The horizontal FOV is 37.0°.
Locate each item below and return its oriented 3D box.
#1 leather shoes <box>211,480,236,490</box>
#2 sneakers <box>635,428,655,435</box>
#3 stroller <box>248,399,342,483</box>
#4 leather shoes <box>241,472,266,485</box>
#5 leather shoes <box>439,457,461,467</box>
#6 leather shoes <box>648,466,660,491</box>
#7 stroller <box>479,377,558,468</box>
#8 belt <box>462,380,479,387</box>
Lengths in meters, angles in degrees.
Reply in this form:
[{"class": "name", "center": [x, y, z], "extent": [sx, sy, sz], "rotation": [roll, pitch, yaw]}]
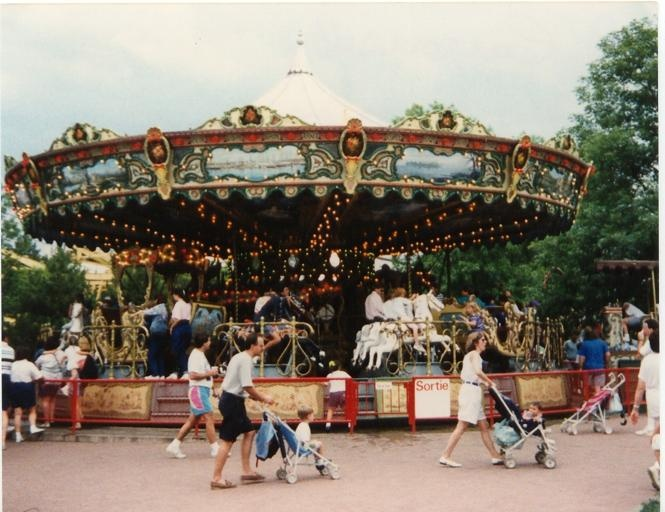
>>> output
[{"class": "leather shoes", "center": [-1.960, 4.031, 17.596], "extent": [0.291, 0.105, 0.168], "rotation": [-2, -5, -7]}, {"class": "sneakers", "center": [6.673, 3.760, 21.296], "extent": [0.358, 0.159, 0.138], "rotation": [2, -12, 1]}, {"class": "stroller", "center": [-0.665, 3.477, 18.302], "extent": [1.464, 1.329, 1.040], "rotation": [0, -2, -14]}, {"class": "leather shoes", "center": [-1.440, 4.010, 17.982], "extent": [0.424, 0.153, 0.158], "rotation": [0, -1, -19]}, {"class": "leather shoes", "center": [2.162, 3.841, 18.594], "extent": [0.444, 0.187, 0.170], "rotation": [10, 3, -4]}, {"class": "leather shoes", "center": [5.451, 3.729, 16.873], "extent": [0.217, 0.489, 0.157], "rotation": [-9, 4, 12]}, {"class": "stroller", "center": [3.623, 3.206, 19.043], "extent": [1.238, 1.616, 1.168], "rotation": [-1, 0, 26]}, {"class": "belt", "center": [2.600, 2.389, 18.688], "extent": [0.276, 0.092, 0.093], "rotation": [2, -6, -1]}]
